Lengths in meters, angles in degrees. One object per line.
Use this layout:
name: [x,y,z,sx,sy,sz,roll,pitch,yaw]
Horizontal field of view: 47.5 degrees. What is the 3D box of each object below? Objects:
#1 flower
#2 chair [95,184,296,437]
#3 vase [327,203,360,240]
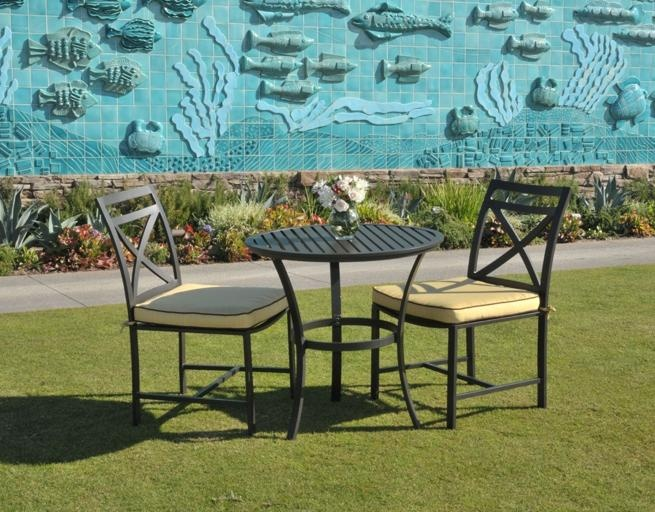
flower: [0.123,-0.306,5.099,0.359,0.390,0.334,0,5,24]
chair: [-0.856,0.312,5.045,1.078,1.553,0.937,0,8,14]
vase: [0.113,-0.234,5.121,0.215,0.265,0.222,-1,8,2]
